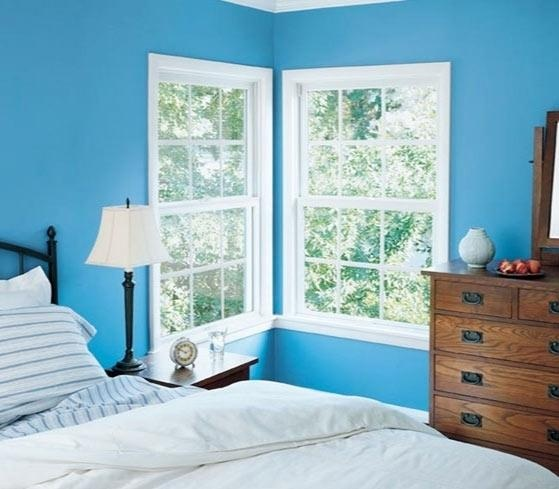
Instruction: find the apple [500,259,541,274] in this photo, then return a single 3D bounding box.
[{"bbox_3d":[1.206,0.113,2.856,0.125,0.031,0.113,-9,11,-41],"label":"apple"}]
